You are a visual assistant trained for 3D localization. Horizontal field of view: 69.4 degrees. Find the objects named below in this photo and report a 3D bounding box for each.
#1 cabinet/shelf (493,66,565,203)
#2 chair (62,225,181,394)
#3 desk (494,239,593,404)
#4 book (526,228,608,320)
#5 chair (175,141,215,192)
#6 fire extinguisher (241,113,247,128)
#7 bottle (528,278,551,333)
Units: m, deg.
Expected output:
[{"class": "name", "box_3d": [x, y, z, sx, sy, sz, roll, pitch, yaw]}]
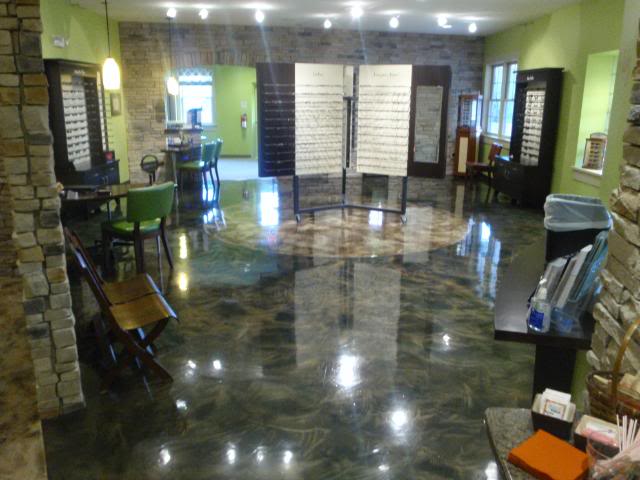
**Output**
[{"class": "cabinet/shelf", "box_3d": [3.969, -1.939, 8.691, 0.749, 2.432, 1.072, -2, 16, -5]}, {"class": "chair", "box_3d": [-1.569, 0.454, 3.659, 0.603, 1.088, 1.095, -10, 18, -31]}, {"class": "desk", "box_3d": [1.365, 0.516, 2.805, 0.363, 0.277, 1.091, 4, 26, 15]}, {"class": "book", "box_3d": [1.418, 0.202, 2.624, 0.428, 0.431, 0.181, -11, 34, -40]}, {"class": "chair", "box_3d": [-2.583, -1.619, 9.931, 0.747, 0.983, 1.511, -4, 16, -12]}, {"class": "fire extinguisher", "box_3d": [-2.419, -3.843, 14.854, 0.203, 0.465, 0.153, 3, 16, 13]}, {"class": "bottle", "box_3d": [1.212, 0.347, 2.542, 0.118, 0.279, 0.150, 11, 19, 35]}]
